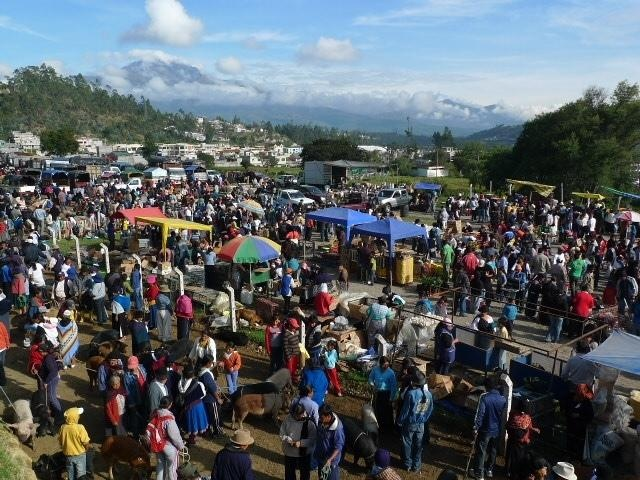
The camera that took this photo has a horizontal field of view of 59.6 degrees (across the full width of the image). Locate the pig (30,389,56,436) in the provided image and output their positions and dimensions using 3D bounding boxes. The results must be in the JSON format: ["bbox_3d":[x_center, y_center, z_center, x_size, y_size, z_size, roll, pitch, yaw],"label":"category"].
[{"bbox_3d":[-5.657,3.378,11.430,0.469,0.718,1.344,6,-24,-35],"label":"pig"}]

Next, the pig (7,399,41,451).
[{"bbox_3d":[-5.858,3.612,10.967,0.452,0.682,1.269,-1,20,-34],"label":"pig"}]

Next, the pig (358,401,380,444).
[{"bbox_3d":[0.902,3.428,11.045,0.233,0.499,0.914,-4,13,-4],"label":"pig"}]

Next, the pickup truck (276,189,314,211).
[{"bbox_3d":[-1.419,-2.344,32.169,2.306,1.110,1.101,6,11,42],"label":"pickup truck"}]

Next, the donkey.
[{"bbox_3d":[-1.208,3.246,12.040,1.743,1.243,0.554,-15,21,-37],"label":"donkey"}]

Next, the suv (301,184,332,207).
[{"bbox_3d":[-0.003,-2.977,36.679,1.224,1.057,2.652,-13,23,-38],"label":"suv"}]

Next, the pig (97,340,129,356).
[{"bbox_3d":[-4.650,2.398,12.464,0.552,0.305,0.738,2,5,-23],"label":"pig"}]

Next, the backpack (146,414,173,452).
[{"bbox_3d":[-2.762,3.331,9.674,0.471,0.685,0.207,-5,13,-18],"label":"backpack"}]

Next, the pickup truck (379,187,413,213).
[{"bbox_3d":[4.510,-2.554,34.016,1.139,1.077,2.244,6,10,41],"label":"pickup truck"}]
